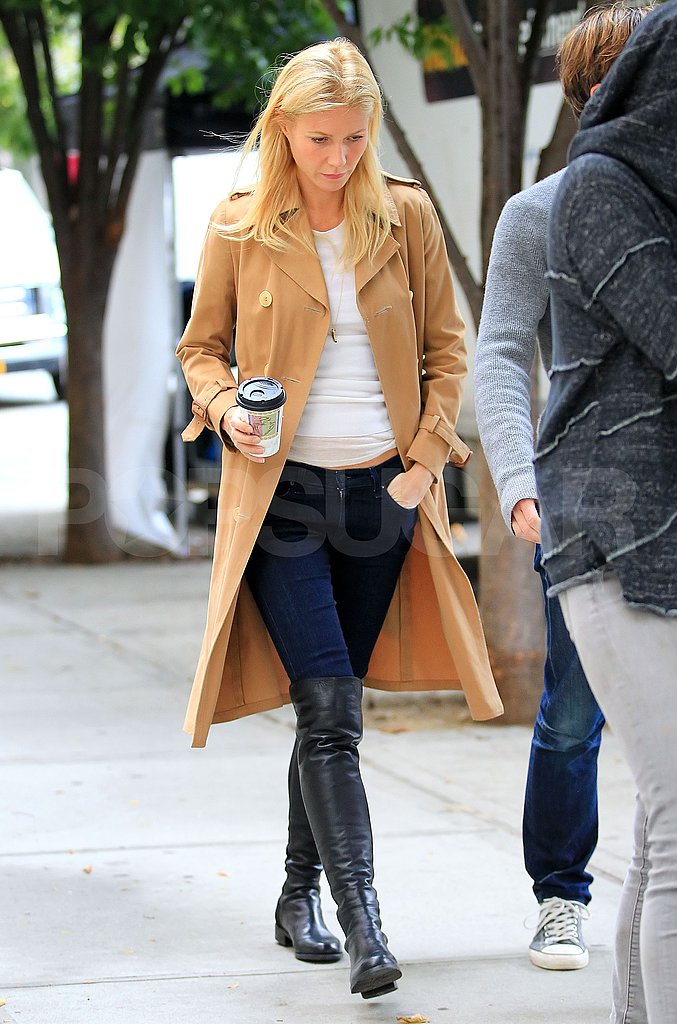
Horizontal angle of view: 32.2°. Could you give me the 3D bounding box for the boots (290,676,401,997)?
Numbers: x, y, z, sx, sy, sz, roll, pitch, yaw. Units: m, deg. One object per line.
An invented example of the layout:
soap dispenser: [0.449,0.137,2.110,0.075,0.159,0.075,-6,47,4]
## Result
boots: [0.004,0.688,2.463,0.207,0.659,0.493,1,0,-2]

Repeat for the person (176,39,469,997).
person: [-0.069,-0.007,2.675,0.694,2.124,0.731,1,0,13]

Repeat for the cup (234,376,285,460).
cup: [-0.165,-0.199,2.477,0.094,0.170,0.115,1,0,-6]
